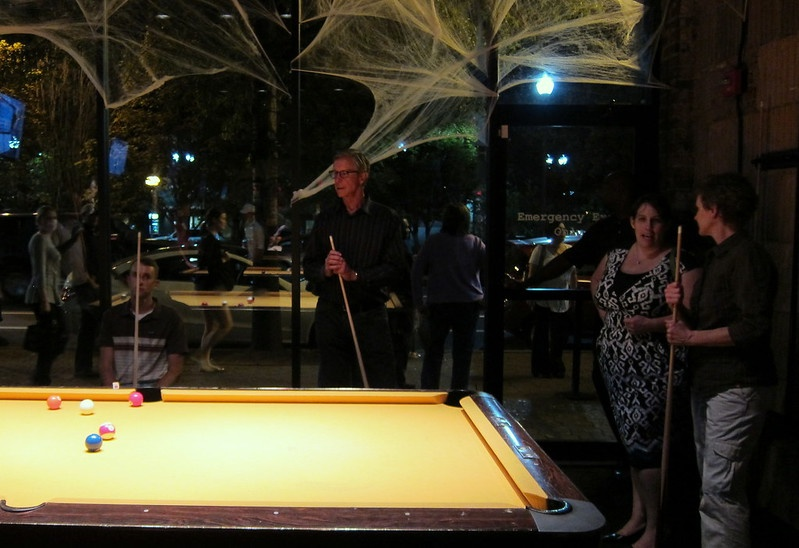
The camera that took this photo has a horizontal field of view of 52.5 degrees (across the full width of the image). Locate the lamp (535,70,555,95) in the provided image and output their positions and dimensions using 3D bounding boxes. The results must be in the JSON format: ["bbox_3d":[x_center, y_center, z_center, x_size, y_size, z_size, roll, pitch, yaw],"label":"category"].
[{"bbox_3d":[1.044,-1.345,5.744,0.142,0.130,0.132,2,2,5],"label":"lamp"}]
